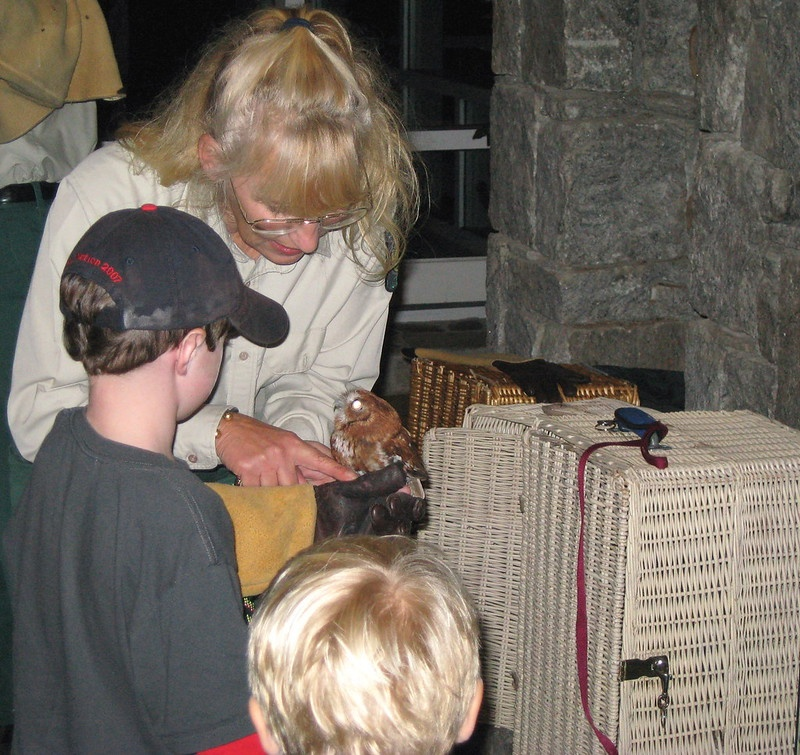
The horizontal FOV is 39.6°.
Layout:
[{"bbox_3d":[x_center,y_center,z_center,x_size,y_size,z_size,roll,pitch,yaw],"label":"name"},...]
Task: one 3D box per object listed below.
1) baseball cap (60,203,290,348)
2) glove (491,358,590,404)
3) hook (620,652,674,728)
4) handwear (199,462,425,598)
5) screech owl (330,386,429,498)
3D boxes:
[{"bbox_3d":[-0.448,-0.217,2.182,0.448,0.233,0.309,-7,19,-45],"label":"baseball cap"},{"bbox_3d":[0.385,0.002,3.061,0.159,0.041,0.156,1,18,-25],"label":"glove"},{"bbox_3d":[0.488,0.629,2.211,0.110,0.147,0.023,0,3,-14],"label":"hook"},{"bbox_3d":[-0.173,0.247,2.124,0.330,0.110,0.250,-1,33,-3],"label":"handwear"},{"bbox_3d":[-0.073,0.142,2.474,0.241,0.220,0.169,11,-37,-2],"label":"screech owl"}]
